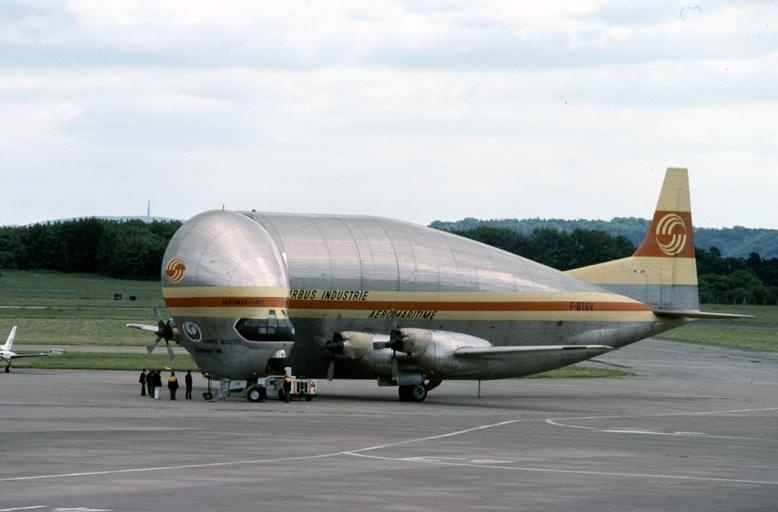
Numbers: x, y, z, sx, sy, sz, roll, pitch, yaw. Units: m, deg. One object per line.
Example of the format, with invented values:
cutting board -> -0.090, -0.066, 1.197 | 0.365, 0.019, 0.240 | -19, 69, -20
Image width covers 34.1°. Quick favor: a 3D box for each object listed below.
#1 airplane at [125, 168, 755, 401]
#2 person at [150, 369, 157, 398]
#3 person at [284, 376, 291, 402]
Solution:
airplane -> 2.867, 1.376, 72.461 | 33.866, 13.462, 11.877 | 0, -3, -11
person -> -12.648, 6.956, 68.789 | 0.650, 1.369, 1.248 | 0, -3, -10
person -> -5.334, 7.077, 67.344 | 0.325, 1.270, 0.460 | 0, -3, -10
